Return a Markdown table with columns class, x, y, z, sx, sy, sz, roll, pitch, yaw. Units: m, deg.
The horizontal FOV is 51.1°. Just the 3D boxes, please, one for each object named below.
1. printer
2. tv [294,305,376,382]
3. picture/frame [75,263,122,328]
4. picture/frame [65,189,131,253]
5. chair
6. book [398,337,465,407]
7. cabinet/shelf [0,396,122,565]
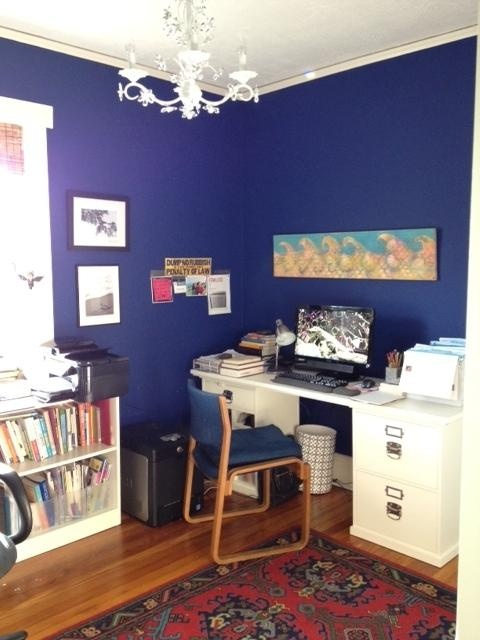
| class | x | y | z | sx | sy | sz | roll | pitch | yaw |
| --- | --- | --- | --- | --- | --- | --- | --- | --- | --- |
| printer | -0.818 | 0.237 | 2.685 | 0.455 | 0.280 | 0.328 | 6 | 6 | 44 |
| tv | 0.590 | 0.143 | 3.029 | 0.052 | 0.342 | 0.450 | 1 | 2 | -41 |
| picture/frame | -0.863 | -0.150 | 3.014 | 0.036 | 0.490 | 0.381 | 5 | 6 | 42 |
| picture/frame | -0.862 | -0.590 | 2.985 | 0.015 | 0.336 | 0.410 | 9 | 11 | 42 |
| chair | 0.014 | 0.724 | 2.995 | 0.814 | 1.194 | 0.809 | -4 | 7 | -22 |
| book | 0.995 | 0.242 | 2.547 | 0.309 | 0.357 | 0.228 | 7 | -3 | 37 |
| cabinet/shelf | -0.896 | 0.795 | 2.472 | 0.258 | 0.687 | 0.742 | 3 | 6 | 40 |
